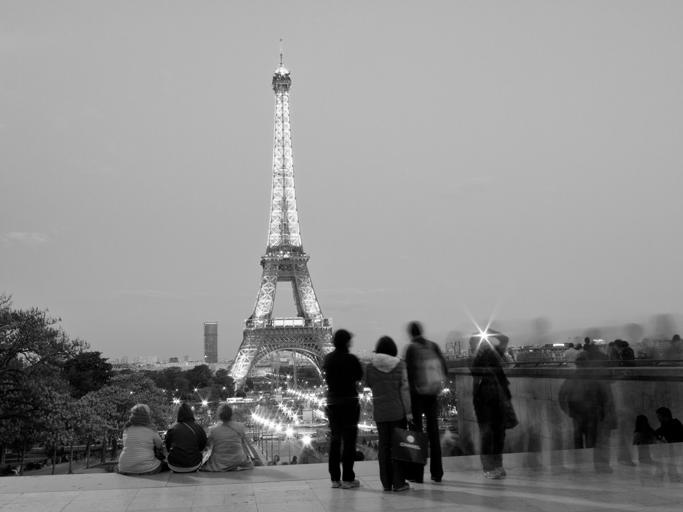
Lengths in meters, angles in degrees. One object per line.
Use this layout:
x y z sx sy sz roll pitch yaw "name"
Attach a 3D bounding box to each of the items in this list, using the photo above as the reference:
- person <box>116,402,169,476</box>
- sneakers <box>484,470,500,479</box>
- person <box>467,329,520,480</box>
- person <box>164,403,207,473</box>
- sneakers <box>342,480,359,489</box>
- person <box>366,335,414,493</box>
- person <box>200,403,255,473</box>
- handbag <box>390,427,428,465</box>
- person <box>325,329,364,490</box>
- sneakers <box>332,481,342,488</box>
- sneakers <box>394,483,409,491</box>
-3.786 3.497 15.414 1.105 1.329 0.952 -7 -11 22 "person"
2.675 3.905 14.201 0.108 0.078 0.221 3 -11 -29 "sneakers"
2.829 2.734 14.708 0.759 2.537 0.929 -3 -6 2 "person"
-3.090 3.461 15.430 0.939 1.282 0.974 5 -7 -38 "person"
0.143 3.932 13.733 0.297 0.120 0.106 -1 -3 -25 "sneakers"
0.802 2.696 13.705 0.755 2.573 0.506 -3 -6 4 "person"
-2.227 3.480 15.442 0.956 1.239 0.901 -2 -6 -7 "person"
1.184 3.113 13.455 0.734 0.682 0.245 0 5 39 "handbag"
0.039 2.653 13.909 0.677 2.696 0.836 -2 -6 -2 "person"
-0.093 3.933 13.708 0.163 0.108 0.124 -2 -6 -1 "sneakers"
0.995 3.901 13.413 0.096 0.118 0.287 -13 -27 36 "sneakers"
